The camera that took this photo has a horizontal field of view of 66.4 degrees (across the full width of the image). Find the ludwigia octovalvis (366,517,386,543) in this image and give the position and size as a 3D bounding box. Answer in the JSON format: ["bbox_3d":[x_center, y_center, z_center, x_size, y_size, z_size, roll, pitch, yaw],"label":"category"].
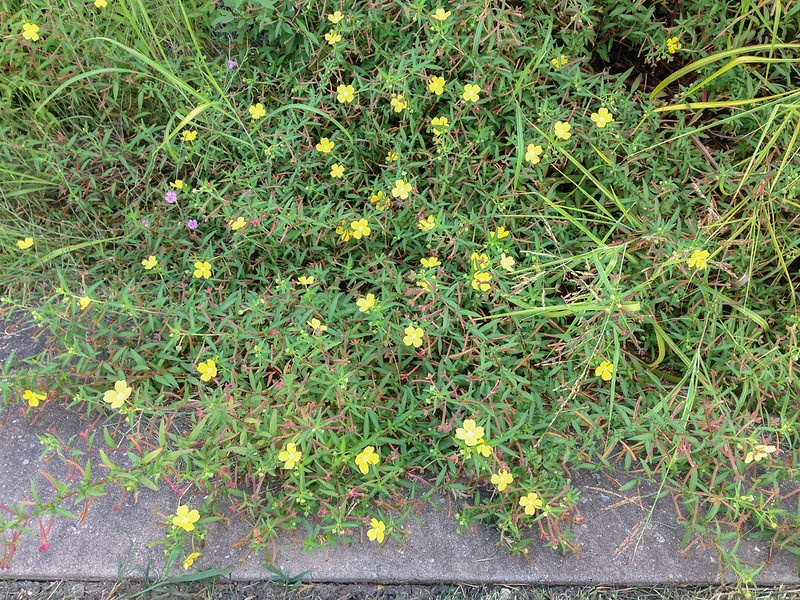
[{"bbox_3d":[-0.118,1.141,3.058,0.110,0.132,0.055,2,39,14],"label":"ludwigia octovalvis"}]

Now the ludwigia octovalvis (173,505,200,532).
[{"bbox_3d":[-1.036,1.064,2.986,0.114,0.155,0.107,14,65,13],"label":"ludwigia octovalvis"}]
